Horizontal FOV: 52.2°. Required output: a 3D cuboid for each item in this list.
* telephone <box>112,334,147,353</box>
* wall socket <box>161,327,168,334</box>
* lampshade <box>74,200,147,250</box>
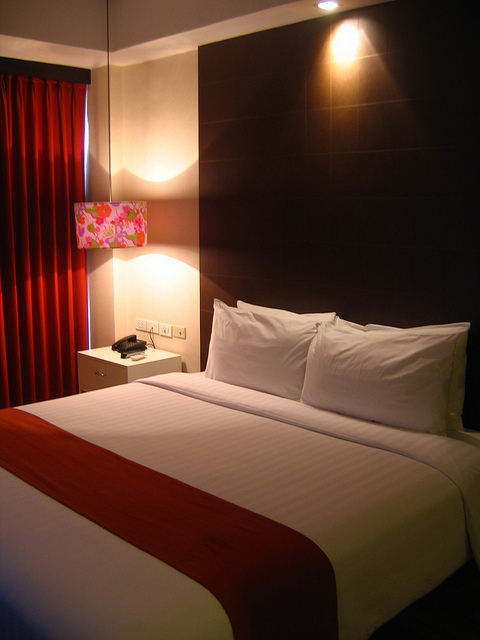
[{"bbox_3d":[-0.787,0.168,3.510,0.150,0.080,0.152,-10,15,-39],"label":"telephone"},{"bbox_3d":[-0.577,0.079,3.711,0.044,0.038,0.011,10,11,40],"label":"wall socket"},{"bbox_3d":[-0.874,-0.622,3.285,0.429,0.334,0.418,-9,10,-37],"label":"lampshade"}]
